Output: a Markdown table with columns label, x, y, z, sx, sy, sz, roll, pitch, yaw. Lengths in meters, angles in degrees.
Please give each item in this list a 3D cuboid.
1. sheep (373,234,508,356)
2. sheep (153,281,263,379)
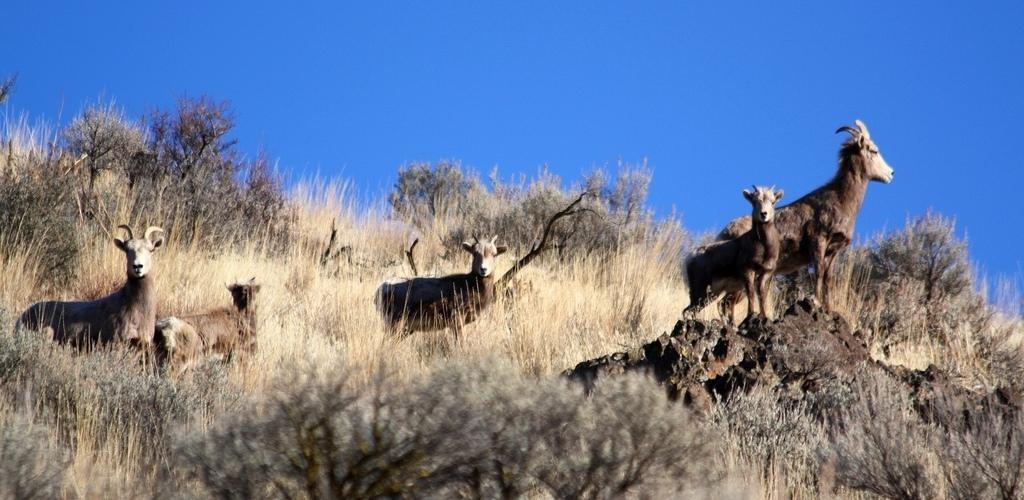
| label | x | y | z | sx | sy | sz | roll | pitch | yaw |
| --- | --- | --- | --- | --- | --- | --- | --- | --- | --- |
| sheep | -1.455 | 1.156 | 25.551 | 3.111 | 2.616 | 1.092 | -5 | 3 | 30 |
| sheep | -6.020 | 1.722 | 23.581 | 0.886 | 1.988 | 2.671 | 5 | 7 | 35 |
